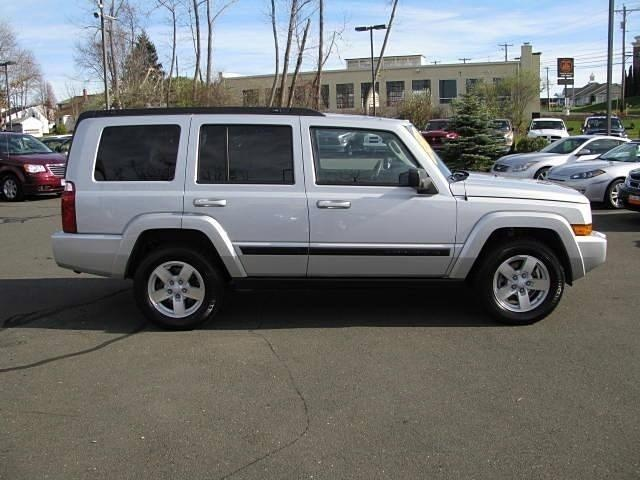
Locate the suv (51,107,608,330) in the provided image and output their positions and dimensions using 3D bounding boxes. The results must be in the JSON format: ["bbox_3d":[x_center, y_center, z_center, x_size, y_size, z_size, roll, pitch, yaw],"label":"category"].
[{"bbox_3d":[0.090,-0.346,5.999,5.638,2.053,2.517,-2,5,0],"label":"suv"}]

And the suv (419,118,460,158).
[{"bbox_3d":[5.303,-4.442,20.594,1.615,1.388,2.890,3,21,20],"label":"suv"}]
